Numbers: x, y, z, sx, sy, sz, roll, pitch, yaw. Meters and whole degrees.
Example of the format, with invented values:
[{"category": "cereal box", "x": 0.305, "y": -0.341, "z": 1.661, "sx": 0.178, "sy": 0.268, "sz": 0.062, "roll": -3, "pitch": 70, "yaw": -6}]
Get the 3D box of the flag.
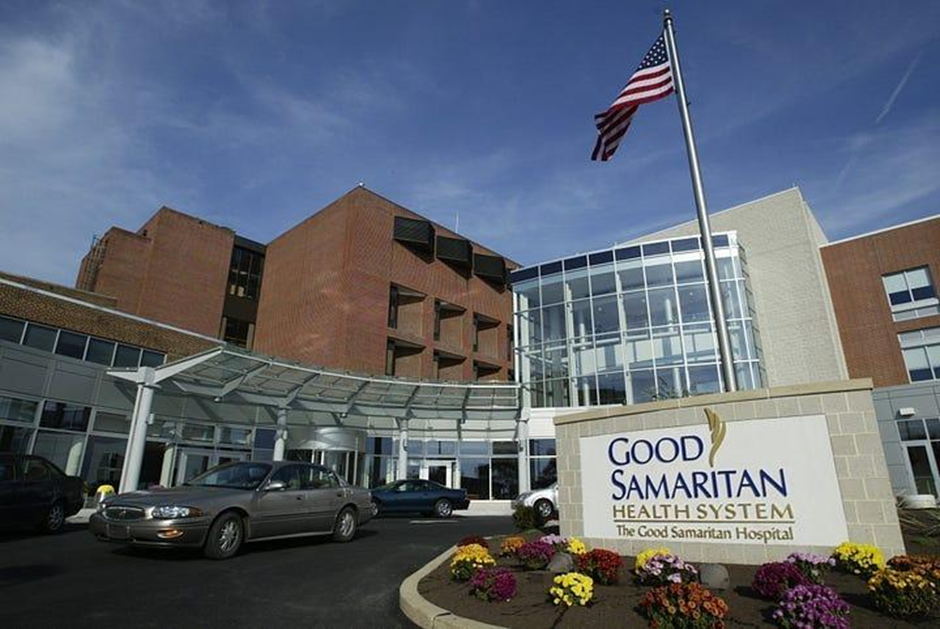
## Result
[{"category": "flag", "x": 4.286, "y": -5.786, "z": 13.343, "sx": 0.691, "sy": 3.242, "sz": 2.235, "roll": 16, "pitch": -25, "yaw": -39}]
